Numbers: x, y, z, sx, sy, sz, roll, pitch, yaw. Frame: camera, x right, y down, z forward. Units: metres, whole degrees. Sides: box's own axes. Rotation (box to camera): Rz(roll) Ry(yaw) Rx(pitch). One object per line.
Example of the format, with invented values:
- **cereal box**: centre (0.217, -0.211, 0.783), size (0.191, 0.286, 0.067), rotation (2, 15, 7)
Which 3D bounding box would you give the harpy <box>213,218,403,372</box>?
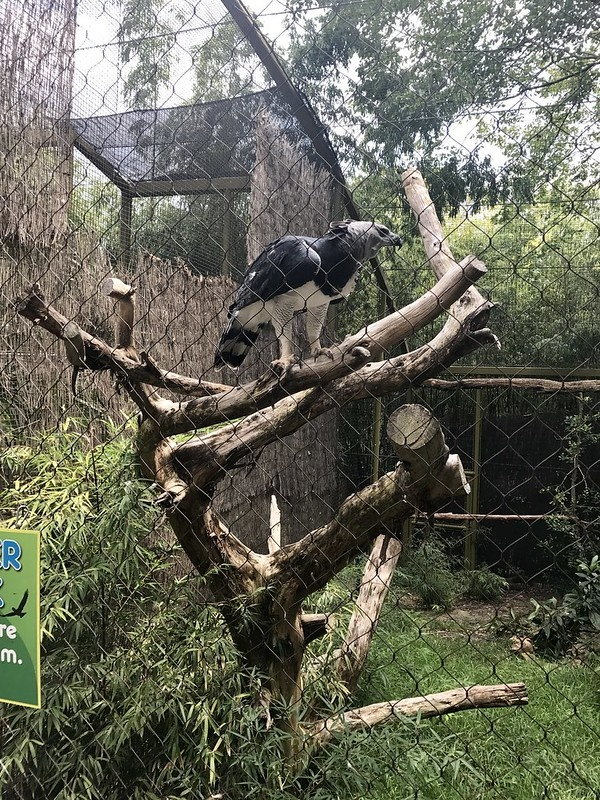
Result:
- **harpy**: centre (0.001, -0.346, 2.686), size (0.652, 0.422, 0.313), rotation (-1, -4, 35)
